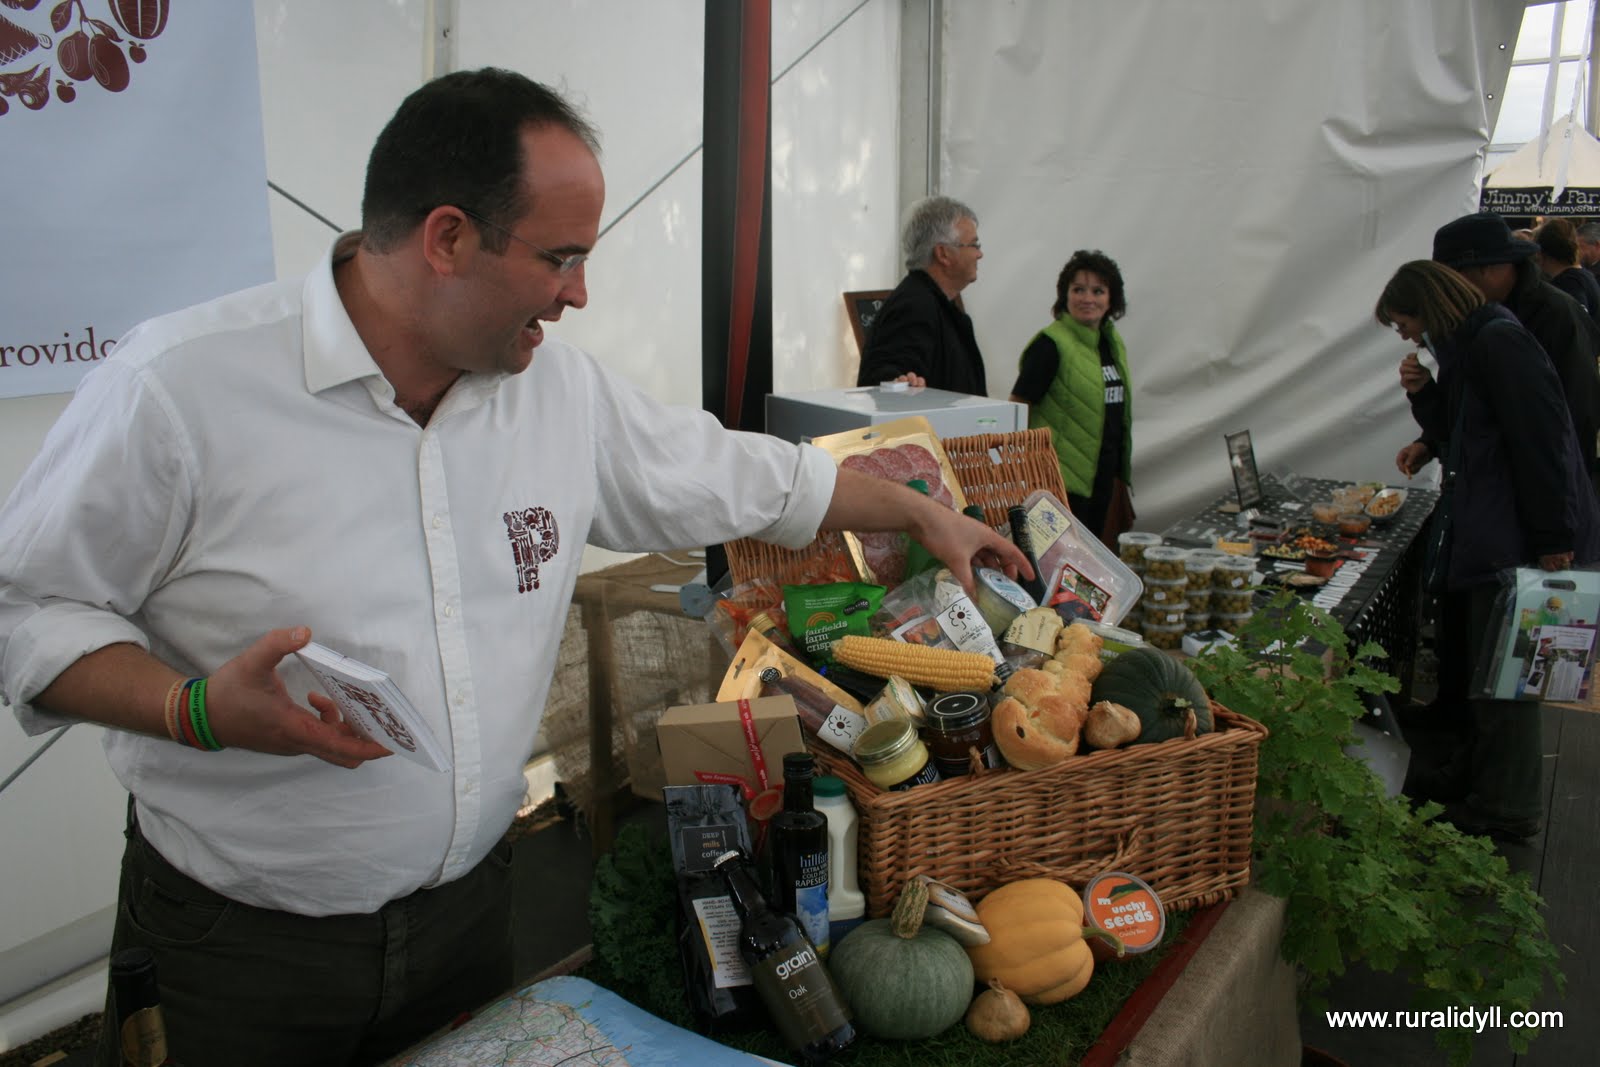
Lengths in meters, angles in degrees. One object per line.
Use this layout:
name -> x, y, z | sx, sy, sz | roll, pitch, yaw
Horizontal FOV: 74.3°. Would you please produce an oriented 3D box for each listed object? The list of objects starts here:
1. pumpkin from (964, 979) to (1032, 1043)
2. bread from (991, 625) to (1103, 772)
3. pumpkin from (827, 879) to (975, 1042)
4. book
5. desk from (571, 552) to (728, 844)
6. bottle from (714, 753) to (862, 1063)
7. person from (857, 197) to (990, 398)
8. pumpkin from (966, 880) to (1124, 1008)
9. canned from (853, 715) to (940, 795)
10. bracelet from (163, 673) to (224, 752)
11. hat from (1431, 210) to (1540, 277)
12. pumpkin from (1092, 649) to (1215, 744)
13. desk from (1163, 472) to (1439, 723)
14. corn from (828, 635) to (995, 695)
pumpkin -> 0.346, 0.852, 1.851 | 0.092, 0.096, 0.096 | -8, 7, -4
bread -> 0.442, 0.361, 2.060 | 0.105, 0.177, 0.351 | -44, 1, 43
pumpkin -> 0.175, 0.732, 1.917 | 0.228, 0.240, 0.231 | 5, 9, 38
book -> -0.758, 0.305, 1.842 | 0.086, 0.279, 0.267 | -43, 6, -9
desk -> -0.602, 0.675, 4.262 | 0.466, 0.993, 0.599 | -7, 30, -15
bottle -> -0.031, 0.642, 1.831 | 0.216, 0.500, 0.143 | -4, 3, -7
person -> 0.547, -1.120, 4.874 | 0.405, 0.923, 1.313 | 2, 22, 7
pumpkin -> 0.436, 0.711, 1.997 | 0.255, 0.193, 0.236 | 17, 20, 41
canned -> 0.174, 0.402, 2.002 | 0.119, 0.133, 0.125 | -18, 5, -13
bracelet -> -1.023, 0.307, 1.779 | 0.066, 0.110, 0.108 | -6, -13, -18
hat -> 2.843, -1.224, 4.412 | 0.294, 0.166, 0.233 | -3, 26, 16
pumpkin -> 0.705, 0.297, 2.124 | 0.188, 0.174, 0.222 | 10, 19, 22
desk -> 1.770, 0.199, 3.666 | 0.607, 0.850, 1.612 | 9, 17, 33
corn -> 0.236, 0.260, 2.142 | 0.385, 0.117, 0.111 | 11, 5, 9
